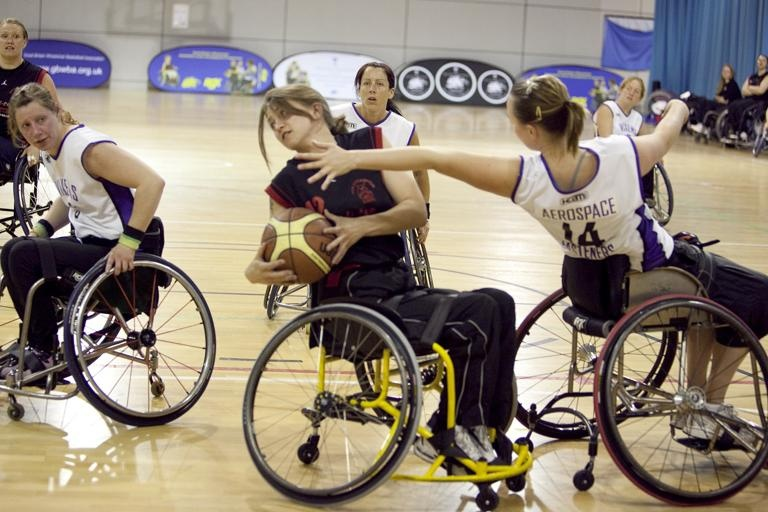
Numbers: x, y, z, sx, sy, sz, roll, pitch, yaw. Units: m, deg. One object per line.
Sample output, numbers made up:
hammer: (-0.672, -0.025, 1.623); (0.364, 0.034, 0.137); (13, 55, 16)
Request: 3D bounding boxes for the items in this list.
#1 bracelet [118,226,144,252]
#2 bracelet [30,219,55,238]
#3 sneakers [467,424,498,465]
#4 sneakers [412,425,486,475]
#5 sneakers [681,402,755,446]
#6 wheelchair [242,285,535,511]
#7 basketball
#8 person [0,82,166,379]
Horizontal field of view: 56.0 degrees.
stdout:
bracelet: (-1.247, -0.089, 3.576); (0.112, 0.111, 0.106); (18, 3, -34)
bracelet: (-1.834, -0.139, 3.892); (0.088, 0.110, 0.112); (-11, 0, -15)
sneakers: (0.431, 0.798, 3.111); (0.106, 0.168, 0.066); (-21, -4, -12)
sneakers: (0.281, 0.819, 3.127); (0.378, 0.182, 0.138); (2, 9, 20)
sneakers: (1.536, 0.782, 3.309); (0.215, 0.136, 0.285); (17, -10, 12)
wheelchair: (-0.094, 0.607, 3.606); (1.170, 1.299, 0.910); (-3, -7, 28)
basketball: (-0.364, -0.063, 3.154); (0.294, 0.313, 0.308); (0, 8, -6)
person: (-1.552, -0.090, 3.740); (0.814, 1.534, 0.551); (1, 11, -14)
